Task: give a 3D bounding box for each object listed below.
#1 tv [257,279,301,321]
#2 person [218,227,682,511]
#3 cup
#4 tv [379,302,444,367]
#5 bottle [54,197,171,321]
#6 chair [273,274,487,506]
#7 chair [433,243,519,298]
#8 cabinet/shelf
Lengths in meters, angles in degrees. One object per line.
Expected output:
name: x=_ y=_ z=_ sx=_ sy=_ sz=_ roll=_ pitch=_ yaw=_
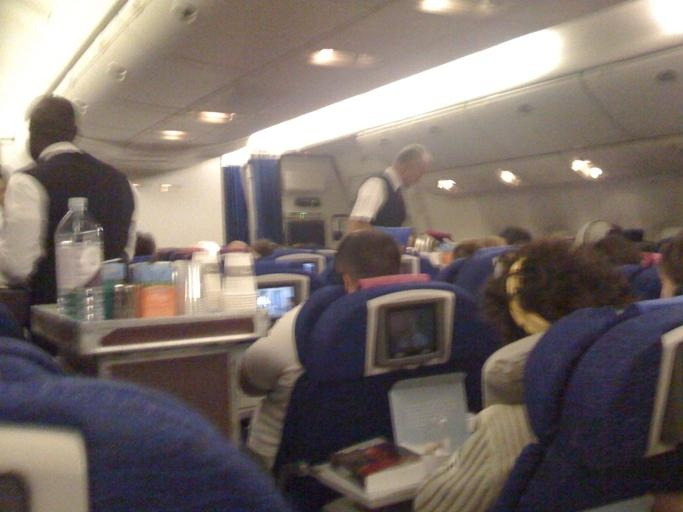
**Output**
tv: x=-0.172 y=0.111 z=1.470 sx=0.165 sy=0.100 sz=0.088 roll=1 pitch=-5 yaw=-31
person: x=0.360 y=0.165 z=1.763 sx=0.832 sy=0.885 sz=0.857 roll=2 pitch=1 yaw=-30
cup: x=-0.282 y=0.076 z=1.298 sx=0.199 sy=0.173 sz=0.111 roll=-2 pitch=-1 yaw=-6
tv: x=0.166 y=0.187 z=1.335 sx=0.175 sy=0.139 sz=0.087 roll=-4 pitch=7 yaw=-30
bottle: x=-0.562 y=0.001 z=1.290 sx=0.306 sy=0.296 sz=0.171 roll=-6 pitch=-2 yaw=39
chair: x=0.053 y=0.276 z=1.590 sx=0.508 sy=0.660 sz=0.603 roll=-4 pitch=13 yaw=-14
chair: x=0.377 y=0.039 z=1.563 sx=0.190 sy=0.160 sz=0.142 roll=14 pitch=11 yaw=44
cabinet/shelf: x=-0.466 y=0.179 z=1.373 sx=0.438 sy=0.436 sz=0.356 roll=-2 pitch=4 yaw=-41
